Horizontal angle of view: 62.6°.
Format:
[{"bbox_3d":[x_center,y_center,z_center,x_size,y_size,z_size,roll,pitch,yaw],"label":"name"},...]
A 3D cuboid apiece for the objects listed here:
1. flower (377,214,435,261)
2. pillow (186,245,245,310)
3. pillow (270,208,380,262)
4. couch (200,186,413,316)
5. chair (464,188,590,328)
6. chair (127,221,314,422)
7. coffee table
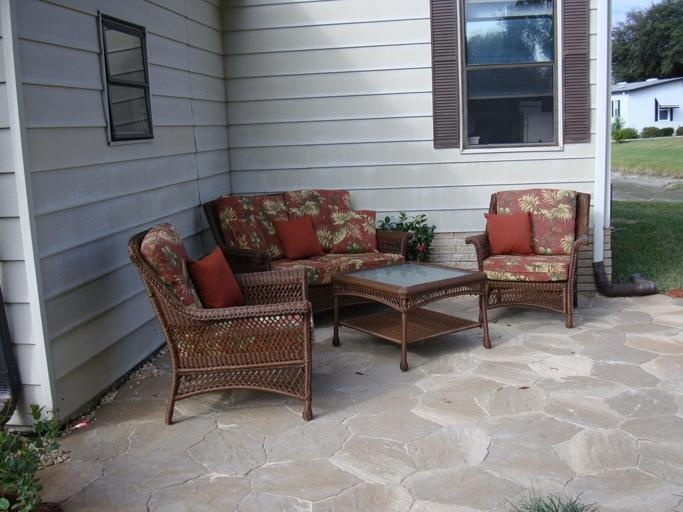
[{"bbox_3d":[0.618,-0.225,6.254,0.474,0.437,0.369,13,3,35],"label":"flower"},{"bbox_3d":[-0.872,0.147,3.746,0.114,0.338,0.396,-26,-32,20],"label":"pillow"},{"bbox_3d":[-0.096,-0.224,5.742,1.158,0.438,0.387,-4,2,-24],"label":"pillow"},{"bbox_3d":[-0.293,-0.089,5.612,1.859,0.976,1.067,-9,17,-38],"label":"couch"},{"bbox_3d":[1.889,-0.056,5.429,1.188,1.147,1.155,7,15,44],"label":"chair"},{"bbox_3d":[-0.828,0.556,3.860,1.210,0.990,0.933,2,-12,-8],"label":"chair"},{"bbox_3d":[0.557,0.442,4.689,0.932,0.646,1.064,-13,17,-38],"label":"coffee table"}]
